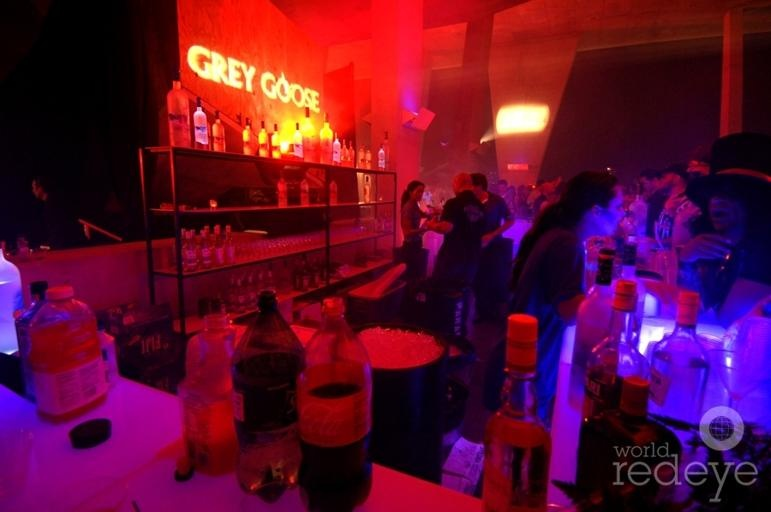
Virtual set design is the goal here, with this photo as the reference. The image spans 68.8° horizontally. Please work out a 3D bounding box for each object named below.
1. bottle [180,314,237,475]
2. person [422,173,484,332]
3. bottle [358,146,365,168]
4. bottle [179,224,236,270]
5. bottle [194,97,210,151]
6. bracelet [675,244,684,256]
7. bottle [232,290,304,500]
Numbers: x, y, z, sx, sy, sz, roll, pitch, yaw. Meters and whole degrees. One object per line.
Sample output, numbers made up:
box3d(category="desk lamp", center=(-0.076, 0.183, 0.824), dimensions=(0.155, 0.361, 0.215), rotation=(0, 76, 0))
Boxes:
box3d(category="bottle", center=(-0.886, 0.701, 2.858), dimensions=(0.282, 0.777, 0.270), rotation=(0, 10, 0))
box3d(category="person", center=(0.676, 0.042, 5.487), dimensions=(0.504, 1.621, 1.436), rotation=(2, 11, 9))
box3d(category="bottle", center=(-0.270, -1.178, 6.683), dimensions=(0.092, 0.257, 0.263), rotation=(-1, 11, -4))
box3d(category="bottle", center=(-1.447, -0.069, 4.672), dimensions=(0.372, 0.359, 0.375), rotation=(6, 14, 14))
box3d(category="bottle", center=(-1.466, -1.069, 4.493), dimensions=(0.092, 0.406, 0.267), rotation=(-4, 11, -20))
box3d(category="bracelet", center=(1.975, -0.040, 3.787), dimensions=(0.066, 0.080, 0.067), rotation=(1, 3, -5))
box3d(category="bottle", center=(-0.578, 0.679, 2.802), dimensions=(0.336, 0.984, 0.263), rotation=(-2, 11, -14))
